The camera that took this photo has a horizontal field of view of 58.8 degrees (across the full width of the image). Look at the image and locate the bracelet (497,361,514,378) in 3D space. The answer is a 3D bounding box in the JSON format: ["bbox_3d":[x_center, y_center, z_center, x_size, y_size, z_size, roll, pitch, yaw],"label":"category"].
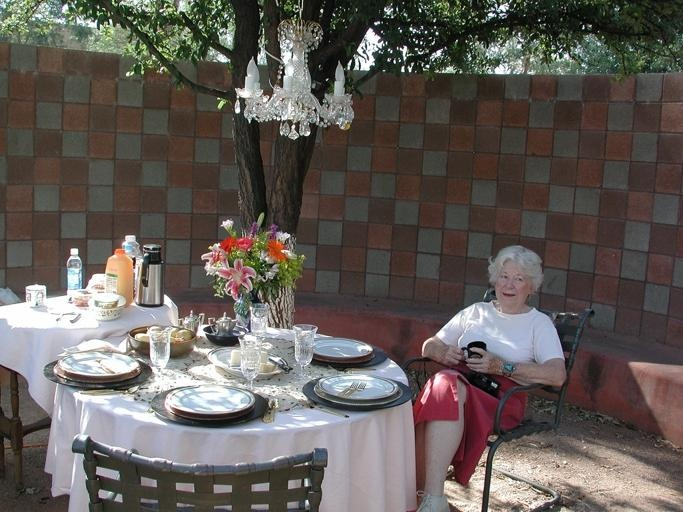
[{"bbox_3d":[0.961,0.659,3.573,0.056,0.101,0.094,10,18,7],"label":"bracelet"}]

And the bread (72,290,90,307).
[{"bbox_3d":[-1.700,0.258,3.967,0.102,0.091,0.109,-5,13,-25],"label":"bread"}]

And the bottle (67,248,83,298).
[{"bbox_3d":[-1.856,0.109,4.222,0.083,0.311,0.412,0,3,-24],"label":"bottle"}]

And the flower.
[{"bbox_3d":[-0.526,0.075,3.688,0.632,0.766,0.682,-1,-4,-9],"label":"flower"}]

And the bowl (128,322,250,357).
[{"bbox_3d":[-0.885,0.462,3.319,0.422,0.102,0.257,1,0,-17],"label":"bowl"}]
